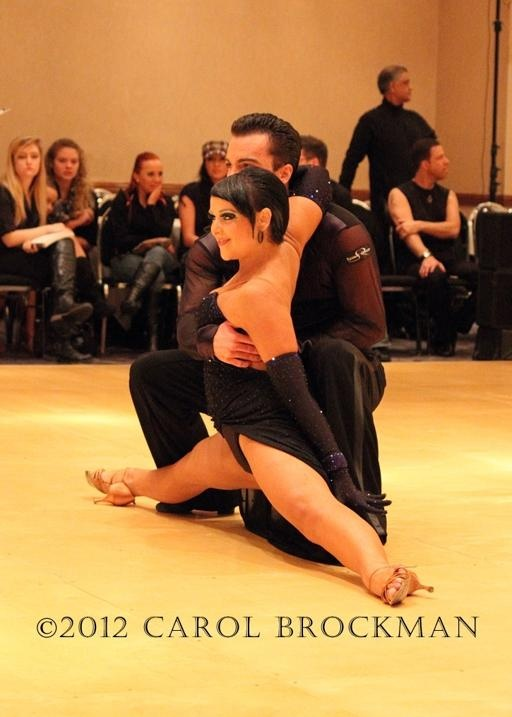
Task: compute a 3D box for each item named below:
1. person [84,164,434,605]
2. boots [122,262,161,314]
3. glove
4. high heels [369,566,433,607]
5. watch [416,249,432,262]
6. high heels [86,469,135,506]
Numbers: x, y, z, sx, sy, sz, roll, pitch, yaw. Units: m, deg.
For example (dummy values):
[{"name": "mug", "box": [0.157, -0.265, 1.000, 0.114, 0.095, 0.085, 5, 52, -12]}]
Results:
[{"name": "person", "box": [0.019, 0.020, 1.499, 0.327, 0.845, 0.882, 0, -3, -29]}, {"name": "boots", "box": [-0.865, -0.531, 5.116, 0.206, 0.429, 0.181, 34, -18, -29]}, {"name": "glove", "box": [0.224, 0.281, 1.413, 0.084, 0.196, 0.057, -8, 39, 39]}, {"name": "high heels", "box": [0.243, 0.386, 1.146, 0.065, 0.033, 0.094, -24, -5, 8]}, {"name": "watch", "box": [1.330, -0.809, 5.212, 0.086, 0.034, 0.091, -38, -4, 37]}, {"name": "high heels", "box": [-0.398, 0.358, 1.863, 0.127, 0.044, 0.096, 21, 8, 30]}]
